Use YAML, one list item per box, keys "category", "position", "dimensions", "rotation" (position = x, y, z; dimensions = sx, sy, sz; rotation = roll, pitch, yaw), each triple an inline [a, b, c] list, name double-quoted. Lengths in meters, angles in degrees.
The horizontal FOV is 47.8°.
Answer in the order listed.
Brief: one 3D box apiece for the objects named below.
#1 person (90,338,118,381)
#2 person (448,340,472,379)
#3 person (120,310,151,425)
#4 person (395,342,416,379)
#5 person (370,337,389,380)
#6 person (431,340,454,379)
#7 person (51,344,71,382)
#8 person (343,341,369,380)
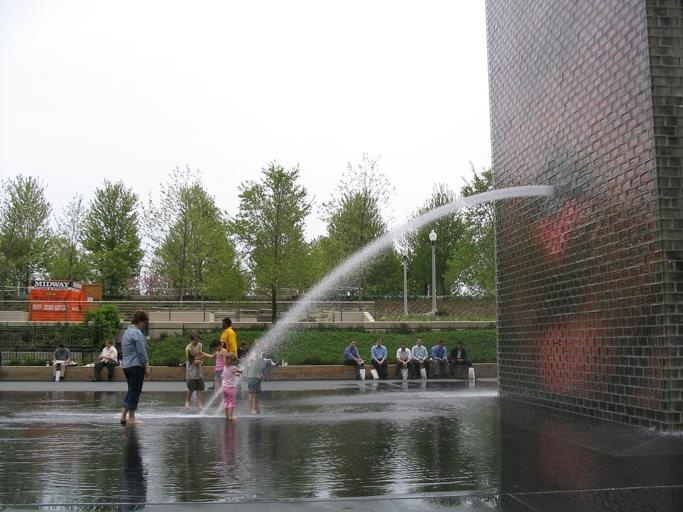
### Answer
- category: "person"
  position: [-7.780, 3.455, 25.473]
  dimensions: [0.691, 1.337, 0.807]
  rotation: [0, -2, -24]
- category: "person"
  position: [4.167, 3.812, 27.876]
  dimensions: [0.986, 1.768, 1.038]
  rotation: [1, -14, -6]
- category: "person"
  position: [-4.140, 2.204, 15.386]
  dimensions: [0.559, 2.251, 0.809]
  rotation: [-1, 1, -18]
- category: "person"
  position: [2.241, 3.668, 27.103]
  dimensions: [0.608, 1.213, 0.737]
  rotation: [-1, 1, -14]
- category: "person"
  position: [1.328, 3.591, 27.067]
  dimensions: [0.571, 1.362, 1.079]
  rotation: [0, 1, 3]
- category: "person"
  position: [3.529, 3.669, 27.668]
  dimensions: [0.685, 1.269, 1.155]
  rotation: [0, 0, 8]
- category: "person"
  position: [-9.340, 3.555, 25.784]
  dimensions: [0.551, 1.182, 0.652]
  rotation: [-1, 1, -23]
- category: "person"
  position: [0.490, 3.572, 26.909]
  dimensions: [0.733, 1.368, 1.153]
  rotation: [-1, 1, -20]
